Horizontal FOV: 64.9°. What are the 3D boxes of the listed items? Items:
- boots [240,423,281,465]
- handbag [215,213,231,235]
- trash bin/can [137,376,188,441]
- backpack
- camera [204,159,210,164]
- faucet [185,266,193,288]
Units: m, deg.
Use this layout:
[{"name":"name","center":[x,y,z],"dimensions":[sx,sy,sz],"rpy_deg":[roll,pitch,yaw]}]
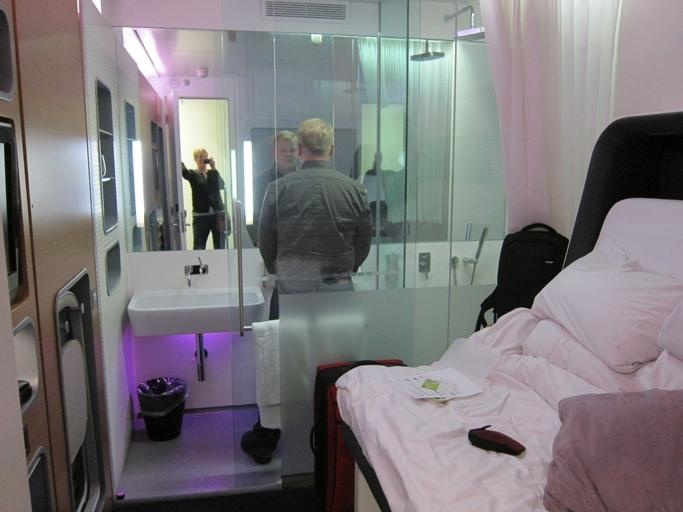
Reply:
[{"name":"boots","center":[-0.471,1.072,3.196],"dimensions":[0.182,0.155,0.320],"rpy_deg":[12,0,44]},{"name":"handbag","center":[-0.781,-0.222,3.584],"dimensions":[0.103,0.152,0.073],"rpy_deg":[-8,7,42]},{"name":"trash bin/can","center":[-1.207,1.060,3.689],"dimensions":[0.281,0.328,0.291],"rpy_deg":[-4,4,32]},{"name":"backpack","center":[1.058,0.094,3.132],"dimensions":[0.578,0.784,0.308],"rpy_deg":[5,36,11]},{"name":"camera","center":[-0.877,-0.620,3.523],"dimensions":[0.035,0.027,0.008],"rpy_deg":[-7,9,-18]},{"name":"faucet","center":[-1.021,0.131,3.628],"dimensions":[0.039,0.143,0.028],"rpy_deg":[-6,9,-17]}]
